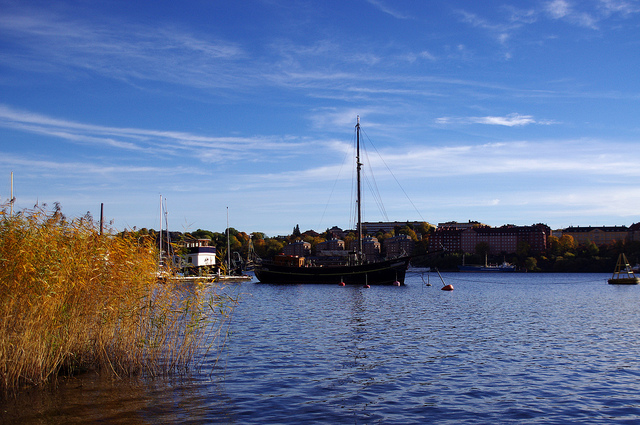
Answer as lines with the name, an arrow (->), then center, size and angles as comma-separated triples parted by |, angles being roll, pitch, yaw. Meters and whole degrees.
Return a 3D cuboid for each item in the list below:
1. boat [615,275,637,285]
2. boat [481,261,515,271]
boat -> 40.544, 8.992, 93.532 | 1.870, 0.819, 3.257 | 1, -8, -14
boat -> 47.508, 14.159, 189.428 | 10.957, 2.723, 2.254 | 0, -4, 7
